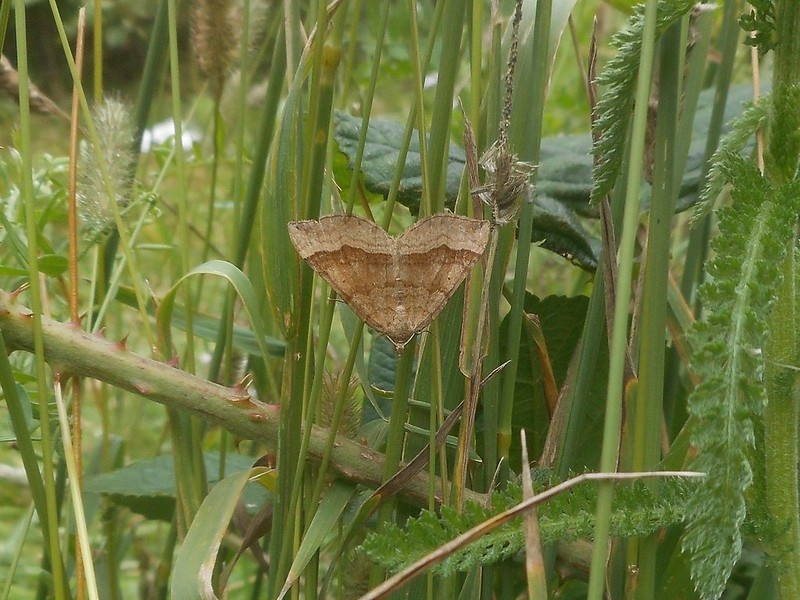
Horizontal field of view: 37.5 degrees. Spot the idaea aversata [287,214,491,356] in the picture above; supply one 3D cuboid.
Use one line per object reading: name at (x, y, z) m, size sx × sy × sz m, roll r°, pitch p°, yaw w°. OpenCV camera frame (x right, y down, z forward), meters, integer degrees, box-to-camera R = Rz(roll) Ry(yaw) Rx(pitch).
idaea aversata at (-0.012, -0.026, 1.680) m, size 0.244 × 0.215 × 0.069 m, roll -1°, pitch -1°, yaw 4°
